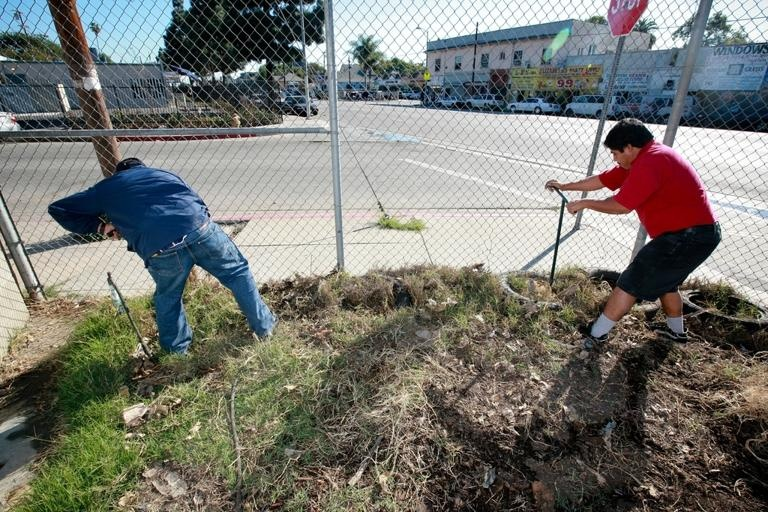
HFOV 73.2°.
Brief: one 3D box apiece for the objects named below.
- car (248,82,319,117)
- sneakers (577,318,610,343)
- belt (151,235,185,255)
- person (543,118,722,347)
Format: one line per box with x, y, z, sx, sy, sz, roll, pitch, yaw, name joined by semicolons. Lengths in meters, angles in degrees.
-4.733;-7.087;23.533;1.225;1.793;2.978;13;30;25;car
2.483;0.894;6.206;0.160;0.191;0.402;-14;15;-20;sneakers
-2.368;-0.142;5.694;0.224;0.058;0.232;-38;11;-12;belt
2.938;-0.219;5.912;1.488;2.418;1.065;18;31;32;person
